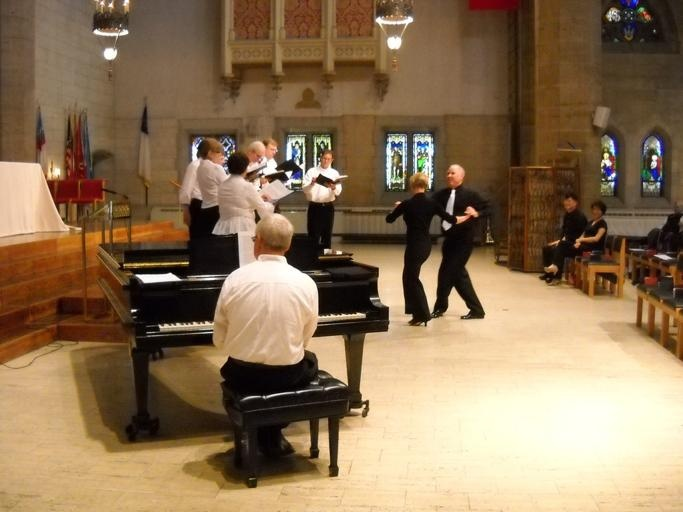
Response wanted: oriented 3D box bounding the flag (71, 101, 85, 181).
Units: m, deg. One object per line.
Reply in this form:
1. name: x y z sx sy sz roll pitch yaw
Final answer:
1. flag: -6.484 -2.778 16.153 0.279 1.661 0.966 -3 9 -21

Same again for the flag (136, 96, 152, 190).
1. flag: -5.524 -3.106 18.334 0.355 2.484 0.273 -3 9 -20

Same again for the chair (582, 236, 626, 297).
1. chair: 4.372 0.110 11.161 0.550 0.996 1.343 2 7 15

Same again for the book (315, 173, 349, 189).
1. book: -0.202 -1.124 9.402 0.387 0.092 0.236 11 -36 -44

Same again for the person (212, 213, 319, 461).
1. person: -0.535 0.342 4.602 0.734 1.248 0.374 -2 9 -13

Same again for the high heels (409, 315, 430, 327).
1. high heels: 1.014 0.872 8.767 0.321 0.144 0.114 8 0 -2

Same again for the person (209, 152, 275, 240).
1. person: -1.060 -0.400 7.088 0.553 1.327 0.615 7 5 38

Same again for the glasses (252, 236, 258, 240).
1. glasses: -0.643 -0.131 4.835 0.028 0.016 0.043 1 39 2

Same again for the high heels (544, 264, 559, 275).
1. high heels: 3.738 0.243 11.785 0.235 0.181 0.141 8 3 4

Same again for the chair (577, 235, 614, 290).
1. chair: 4.246 0.105 11.033 0.316 0.695 0.862 0 2 8

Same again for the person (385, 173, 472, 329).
1. person: 1.021 -0.076 8.693 0.728 2.028 0.716 6 10 33

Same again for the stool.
1. stool: -0.420 1.259 4.884 0.846 0.728 0.547 -2 7 -23

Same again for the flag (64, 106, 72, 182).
1. flag: -6.601 -2.683 15.839 0.251 1.521 0.543 -3 9 -22
